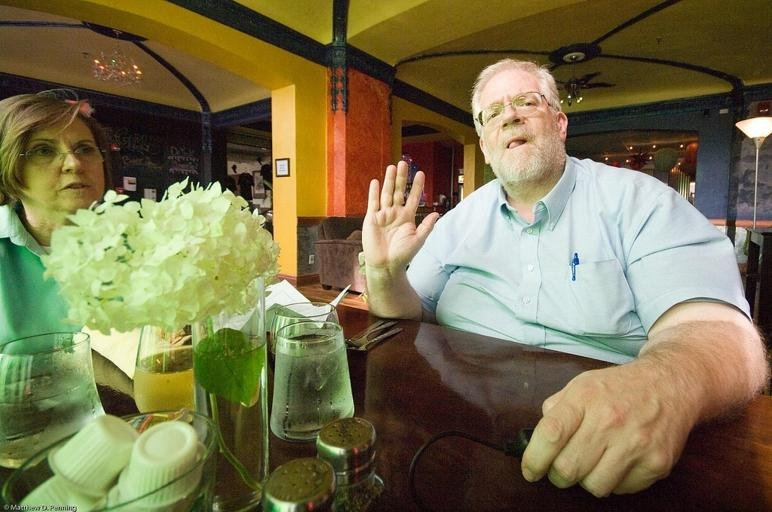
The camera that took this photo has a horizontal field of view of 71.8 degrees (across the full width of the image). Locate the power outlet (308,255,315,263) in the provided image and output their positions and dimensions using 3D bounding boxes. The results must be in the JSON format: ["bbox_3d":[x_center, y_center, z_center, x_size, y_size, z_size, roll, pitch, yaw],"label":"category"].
[{"bbox_3d":[-0.881,0.032,6.267,0.015,0.114,0.092,8,9,41],"label":"power outlet"}]

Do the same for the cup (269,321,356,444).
[{"bbox_3d":[-0.205,0.310,1.423,0.230,0.252,0.270,-1,11,-7],"label":"cup"}]

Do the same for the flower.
[{"bbox_3d":[-0.498,0.105,1.343,0.487,0.529,0.524,-1,18,-8],"label":"flower"}]

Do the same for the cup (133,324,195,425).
[{"bbox_3d":[-0.552,0.278,1.356,0.177,0.250,0.153,0,5,-30],"label":"cup"}]

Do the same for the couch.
[{"bbox_3d":[-0.260,-0.054,5.859,0.672,0.729,1.068,7,10,21],"label":"couch"}]

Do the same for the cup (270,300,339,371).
[{"bbox_3d":[-0.225,0.213,1.481,0.199,0.204,0.195,0,-7,0],"label":"cup"}]

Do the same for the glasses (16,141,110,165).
[{"bbox_3d":[-1.060,-0.336,1.762,0.249,0.077,0.052,-5,6,-43],"label":"glasses"}]

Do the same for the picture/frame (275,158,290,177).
[{"bbox_3d":[-1.157,-0.998,5.976,0.211,0.204,0.023,5,7,30],"label":"picture/frame"}]

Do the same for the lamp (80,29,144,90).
[{"bbox_3d":[-2.968,-2.222,5.872,0.477,0.486,0.430,-2,11,-28],"label":"lamp"}]
